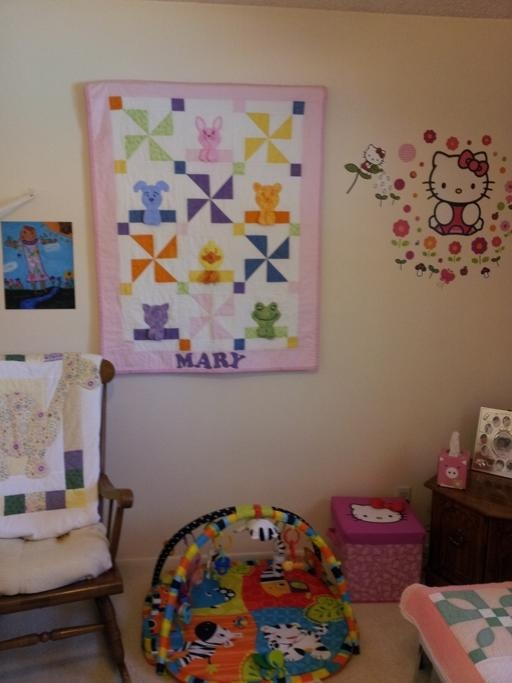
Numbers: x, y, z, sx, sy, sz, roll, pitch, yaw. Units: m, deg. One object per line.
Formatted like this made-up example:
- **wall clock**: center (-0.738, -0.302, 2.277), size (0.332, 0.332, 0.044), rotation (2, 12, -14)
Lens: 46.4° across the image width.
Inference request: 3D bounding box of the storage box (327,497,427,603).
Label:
- **storage box**: center (0.475, 0.805, 2.496), size (0.409, 0.322, 0.373), rotation (-1, 18, -3)
